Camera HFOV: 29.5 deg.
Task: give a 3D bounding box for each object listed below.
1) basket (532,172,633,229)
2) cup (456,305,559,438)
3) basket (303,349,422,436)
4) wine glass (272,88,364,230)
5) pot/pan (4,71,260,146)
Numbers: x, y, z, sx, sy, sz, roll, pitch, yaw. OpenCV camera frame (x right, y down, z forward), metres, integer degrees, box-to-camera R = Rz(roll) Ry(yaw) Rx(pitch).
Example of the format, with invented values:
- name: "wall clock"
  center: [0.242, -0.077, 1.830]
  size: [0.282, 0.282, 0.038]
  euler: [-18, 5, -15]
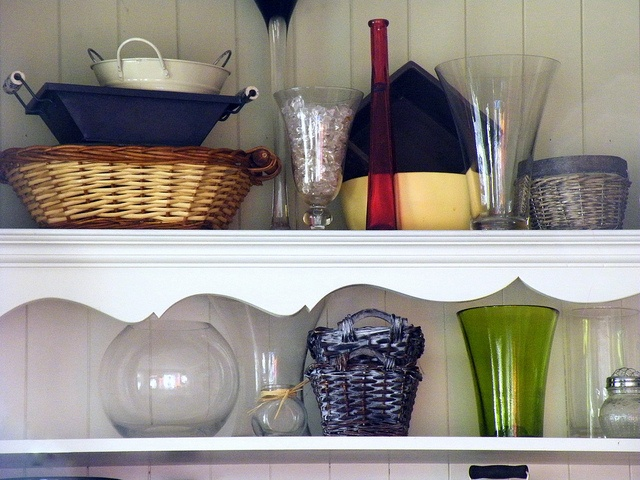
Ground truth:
- name: "basket"
  center: [0.523, -0.069, 2.440]
  size: [0.140, 0.069, 0.125]
  euler: [-1, -8, -3]
- name: "cup"
  center: [0.343, 0.277, 2.493]
  size: [0.238, 0.288, 0.225]
  euler: [0, -14, 0]
- name: "basket"
  center: [0.089, 0.300, 2.388]
  size: [0.221, 0.133, 0.158]
  euler: [0, -17, 0]
- name: "wine glass"
  center: [0.002, -0.157, 2.382]
  size: [0.174, 0.273, 0.066]
  euler: [-2, -3, -2]
- name: "pot/pan"
  center: [-0.357, -0.242, 2.313]
  size: [0.270, 0.082, 0.208]
  euler: [3, -8, -25]
